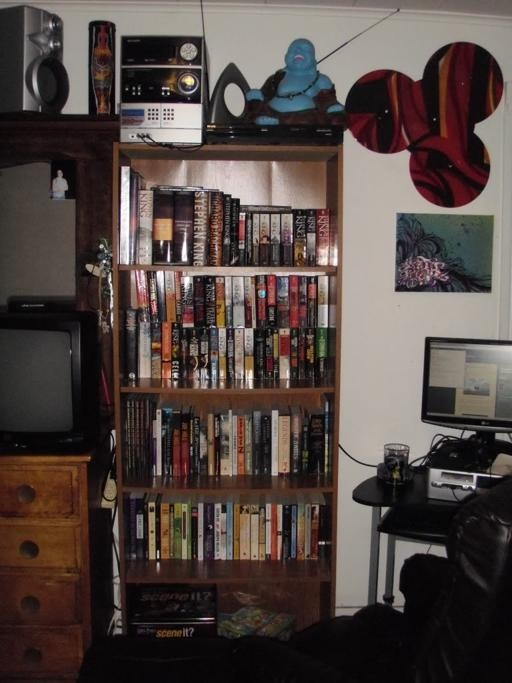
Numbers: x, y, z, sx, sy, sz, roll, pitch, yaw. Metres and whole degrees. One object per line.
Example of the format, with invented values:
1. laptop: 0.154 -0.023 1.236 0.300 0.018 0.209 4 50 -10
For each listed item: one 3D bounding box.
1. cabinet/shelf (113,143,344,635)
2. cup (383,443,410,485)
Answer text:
1. cabinet/shelf: -0.098 0.223 2.463 0.787 1.772 0.439 2 3 -2
2. cup: 0.486 0.450 2.476 0.097 0.168 0.112 0 -5 3
